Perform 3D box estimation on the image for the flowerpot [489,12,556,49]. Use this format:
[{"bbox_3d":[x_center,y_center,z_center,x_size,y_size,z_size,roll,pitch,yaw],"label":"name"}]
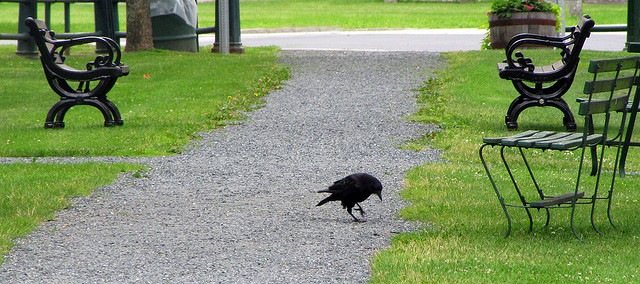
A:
[{"bbox_3d":[8.383,-4.502,46.731,2.383,1.493,2.236,-4,3,-19],"label":"flowerpot"}]
